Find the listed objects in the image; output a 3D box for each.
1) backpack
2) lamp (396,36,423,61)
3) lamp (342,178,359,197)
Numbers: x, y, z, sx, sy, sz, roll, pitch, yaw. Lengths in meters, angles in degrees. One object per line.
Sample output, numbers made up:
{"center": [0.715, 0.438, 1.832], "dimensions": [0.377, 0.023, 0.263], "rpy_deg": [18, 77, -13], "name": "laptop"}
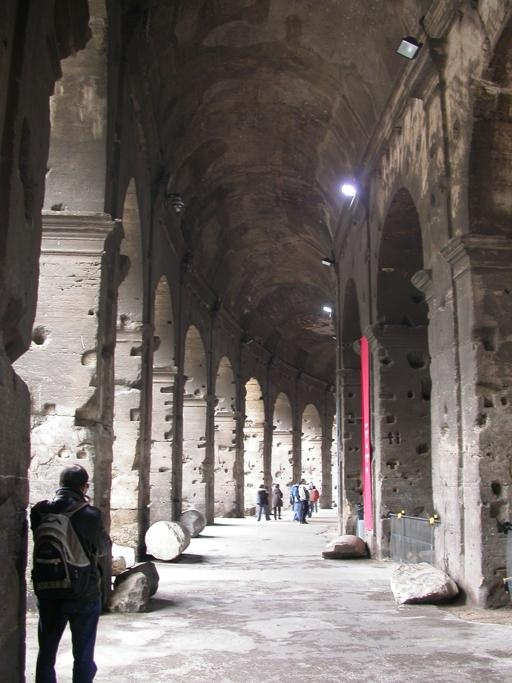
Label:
{"center": [-0.920, 1.005, 3.595], "dimensions": [0.283, 0.460, 0.282], "rpy_deg": [-2, -21, 9], "name": "backpack"}
{"center": [1.623, -3.132, 7.909], "dimensions": [0.256, 0.206, 0.262], "rpy_deg": [19, 16, 2], "name": "lamp"}
{"center": [1.562, -2.617, 12.499], "dimensions": [0.310, 0.328, 0.072], "rpy_deg": [-2, 9, -27], "name": "lamp"}
